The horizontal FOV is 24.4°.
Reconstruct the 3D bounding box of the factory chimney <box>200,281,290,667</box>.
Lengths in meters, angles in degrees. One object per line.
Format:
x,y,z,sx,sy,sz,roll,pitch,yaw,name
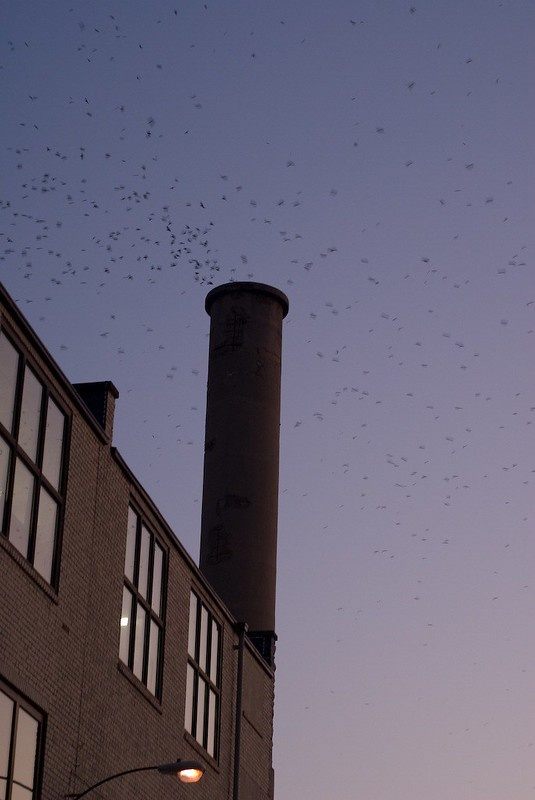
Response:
-0.608,1.458,31.946,2.277,9.198,0.849,-6,-24,9,factory chimney
